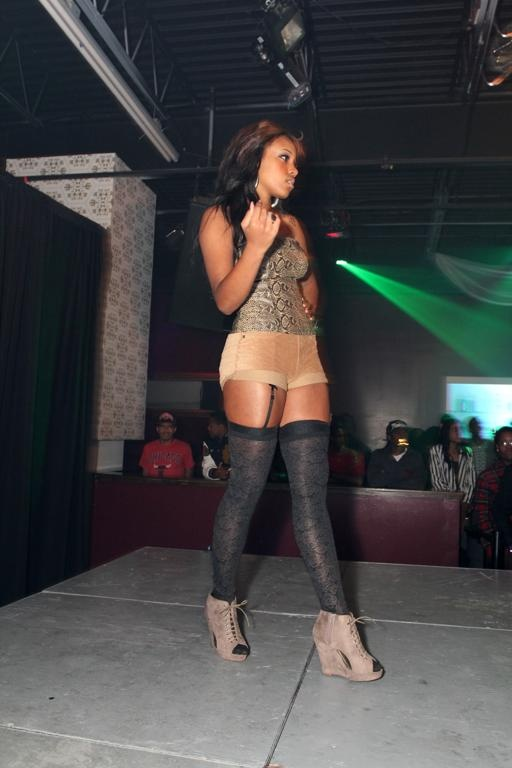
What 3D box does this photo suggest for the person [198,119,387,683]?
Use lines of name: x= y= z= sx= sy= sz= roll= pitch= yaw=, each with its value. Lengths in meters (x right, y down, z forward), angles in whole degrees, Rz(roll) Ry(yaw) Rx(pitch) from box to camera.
person: x=0.062 y=-0.031 z=1.448 sx=0.433 sy=1.309 sz=0.484 roll=2 pitch=-7 yaw=-6

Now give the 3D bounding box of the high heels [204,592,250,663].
high heels: x=-0.062 y=0.550 z=1.310 sx=0.062 sy=0.069 sz=0.160 roll=3 pitch=-6 yaw=-20

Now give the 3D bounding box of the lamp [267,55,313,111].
lamp: x=0.242 y=-2.028 z=3.896 sx=0.182 sy=0.095 sz=0.248 roll=37 pitch=-9 yaw=16
